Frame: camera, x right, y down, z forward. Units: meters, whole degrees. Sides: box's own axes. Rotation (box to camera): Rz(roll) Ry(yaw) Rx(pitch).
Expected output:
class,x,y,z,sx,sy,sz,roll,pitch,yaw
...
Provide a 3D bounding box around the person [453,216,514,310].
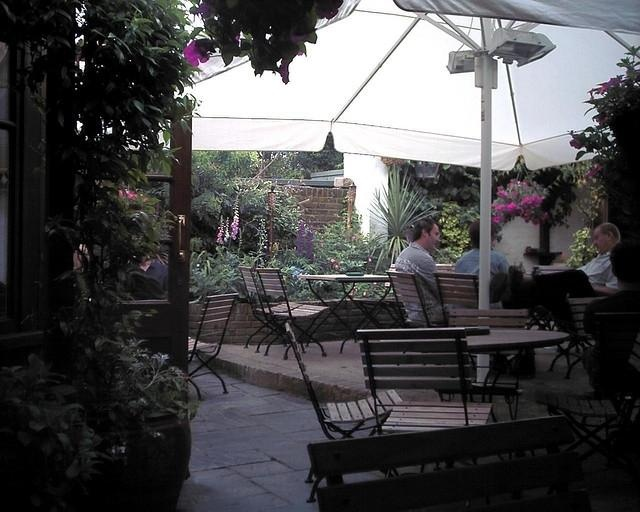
class,x,y,z,sx,sy,sz,roll,pitch,yaw
person,1.710,0.068,6.171,0.499,0.805,0.424,-3,4,38

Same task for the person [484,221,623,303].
class,x,y,z,sx,sy,sz,roll,pitch,yaw
person,2.591,0.018,6.568,0.953,1.230,1.161,0,-4,-9

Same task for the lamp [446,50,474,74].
class,x,y,z,sx,sy,sz,roll,pitch,yaw
lamp,1.266,-1.759,5.328,0.232,0.220,0.235,-2,2,13
